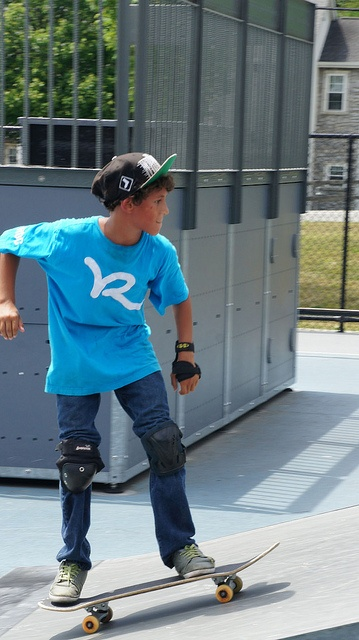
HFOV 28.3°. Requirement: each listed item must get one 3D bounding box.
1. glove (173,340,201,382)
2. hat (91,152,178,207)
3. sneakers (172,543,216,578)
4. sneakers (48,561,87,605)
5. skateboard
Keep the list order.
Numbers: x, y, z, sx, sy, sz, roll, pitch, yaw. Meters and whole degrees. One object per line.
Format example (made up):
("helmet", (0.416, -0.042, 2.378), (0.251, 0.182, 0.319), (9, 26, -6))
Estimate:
("glove", (0.023, 0.145, 2.547), (0.103, 0.133, 0.059), (-2, -13, -12))
("hat", (-0.141, -0.460, 2.274), (0.252, 0.177, 0.122), (-7, -4, 1))
("sneakers", (0.052, 0.770, 2.256), (0.069, 0.056, 0.136), (-12, -9, -23))
("sneakers", (-0.356, 0.837, 2.249), (0.060, 0.065, 0.169), (16, -5, 2))
("skateboard", (-0.060, 0.912, 2.404), (0.682, 0.109, 0.186), (-14, 1, -6))
